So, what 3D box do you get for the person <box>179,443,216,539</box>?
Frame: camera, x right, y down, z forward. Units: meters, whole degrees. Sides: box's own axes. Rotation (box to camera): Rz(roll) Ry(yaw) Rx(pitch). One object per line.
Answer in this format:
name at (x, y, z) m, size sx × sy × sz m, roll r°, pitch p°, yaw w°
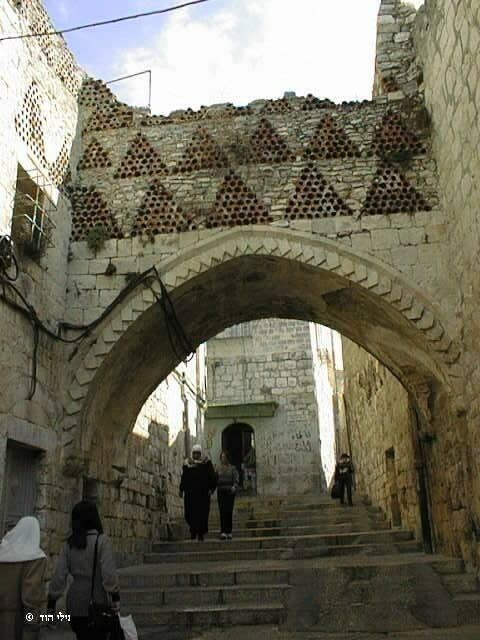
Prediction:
person at (-0.478, 2.003, 7.323) m, size 0.420 × 1.029 × 0.750 m, roll 0°, pitch -21°, yaw -4°
